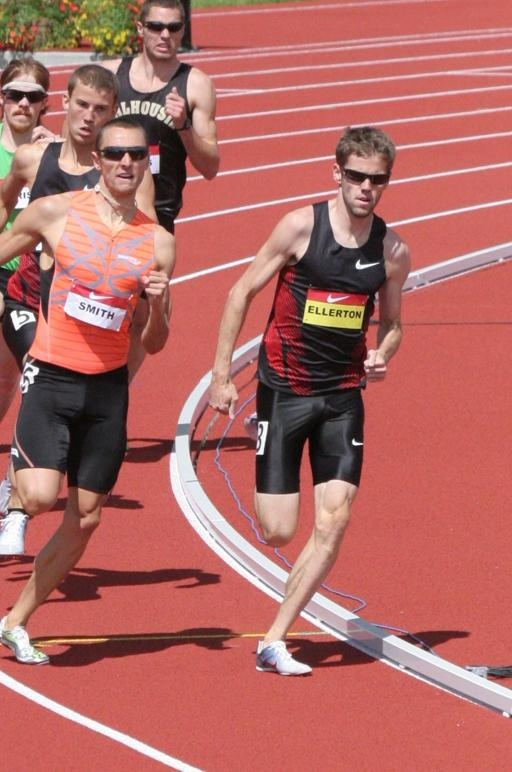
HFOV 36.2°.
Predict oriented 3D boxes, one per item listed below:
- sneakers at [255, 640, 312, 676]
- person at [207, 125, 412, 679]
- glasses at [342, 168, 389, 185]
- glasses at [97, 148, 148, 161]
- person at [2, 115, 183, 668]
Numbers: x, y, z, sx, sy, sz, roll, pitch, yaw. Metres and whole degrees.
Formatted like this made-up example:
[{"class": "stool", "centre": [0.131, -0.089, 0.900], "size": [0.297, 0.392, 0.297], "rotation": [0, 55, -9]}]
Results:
[{"class": "sneakers", "centre": [0.100, 0.950, 2.757], "size": [0.197, 0.150, 0.135], "rotation": [0, 6, 0]}, {"class": "person", "centre": [0.189, 0.050, 2.824], "size": [0.709, 1.920, 0.485], "rotation": [1, 7, 4]}, {"class": "glasses", "centre": [0.378, -0.701, 2.633], "size": [0.167, 0.060, 0.108], "rotation": [0, 6, -3]}, {"class": "glasses", "centre": [-0.429, -0.749, 2.528], "size": [0.154, 0.051, 0.094], "rotation": [-1, 7, -13]}, {"class": "person", "centre": [-0.584, 0.045, 2.677], "size": [0.612, 1.892, 0.357], "rotation": [0, 7, -6]}]
